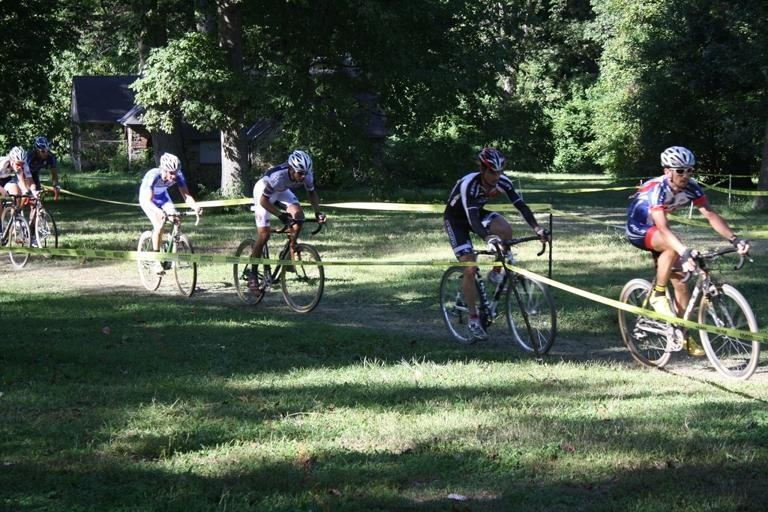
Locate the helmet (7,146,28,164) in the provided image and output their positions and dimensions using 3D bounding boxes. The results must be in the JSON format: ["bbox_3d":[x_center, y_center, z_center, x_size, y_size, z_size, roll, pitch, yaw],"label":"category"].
[{"bbox_3d":[-8.247,-2.278,23.006,0.358,0.325,0.461,-2,5,-22],"label":"helmet"}]

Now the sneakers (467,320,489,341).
[{"bbox_3d":[1.563,1.242,17.164,0.233,0.250,0.371,-13,2,-25],"label":"sneakers"}]

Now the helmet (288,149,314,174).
[{"bbox_3d":[-1.561,-1.713,18.634,0.389,0.275,0.532,-14,48,-36],"label":"helmet"}]

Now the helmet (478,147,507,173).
[{"bbox_3d":[1.739,-1.608,16.729,0.322,0.163,0.450,-4,44,-34],"label":"helmet"}]

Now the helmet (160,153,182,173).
[{"bbox_3d":[-4.153,-1.792,19.855,0.358,0.367,0.481,-2,5,-13],"label":"helmet"}]

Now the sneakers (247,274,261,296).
[{"bbox_3d":[-2.422,0.528,19.334,0.173,0.501,0.215,-10,-1,-6],"label":"sneakers"}]

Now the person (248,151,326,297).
[{"bbox_3d":[-1.800,-0.951,19.118,1.377,1.966,1.137,0,5,14],"label":"person"}]

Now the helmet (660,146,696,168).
[{"bbox_3d":[4.601,-1.521,15.891,0.476,0.307,0.313,0,5,12],"label":"helmet"}]

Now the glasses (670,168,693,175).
[{"bbox_3d":[4.678,-1.300,15.825,0.305,0.106,0.143,-3,5,-23],"label":"glasses"}]
